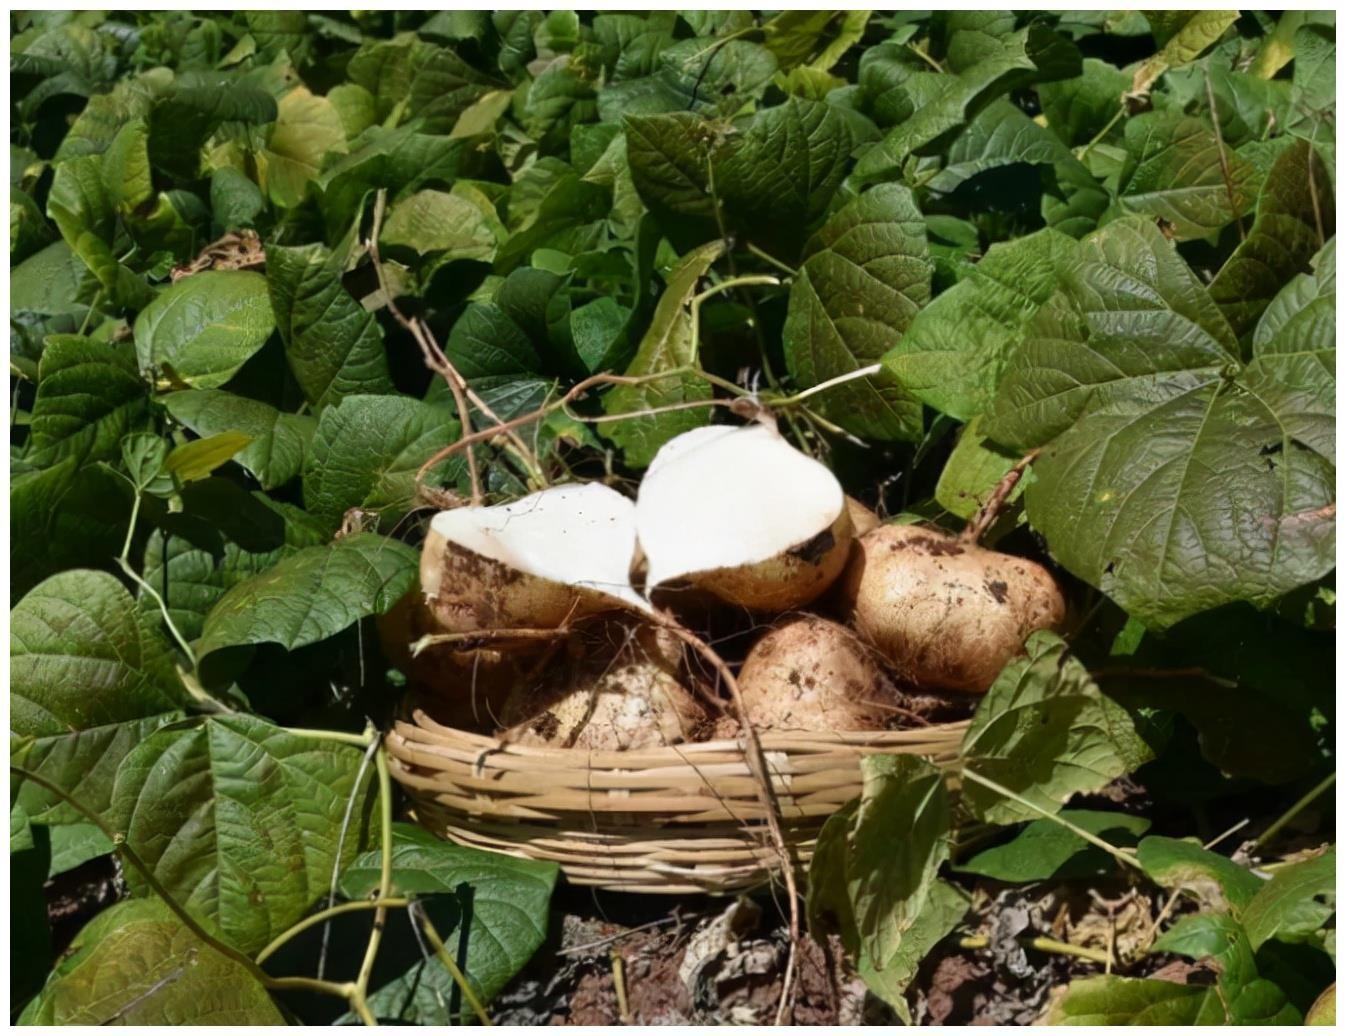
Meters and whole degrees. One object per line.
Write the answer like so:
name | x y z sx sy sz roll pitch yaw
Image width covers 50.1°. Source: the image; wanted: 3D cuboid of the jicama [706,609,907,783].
jicama | 0.108 0.137 1.117 0.119 0.103 0.072 7 21 17

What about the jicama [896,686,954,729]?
jicama | 0.201 0.151 1.152 0.044 0.026 0.017 -4 9 -4

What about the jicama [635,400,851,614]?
jicama | 0.057 0.004 1.136 0.173 0.122 0.121 -7 48 -4

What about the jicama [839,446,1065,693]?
jicama | 0.225 0.054 1.138 0.165 0.137 0.128 -11 49 -8
